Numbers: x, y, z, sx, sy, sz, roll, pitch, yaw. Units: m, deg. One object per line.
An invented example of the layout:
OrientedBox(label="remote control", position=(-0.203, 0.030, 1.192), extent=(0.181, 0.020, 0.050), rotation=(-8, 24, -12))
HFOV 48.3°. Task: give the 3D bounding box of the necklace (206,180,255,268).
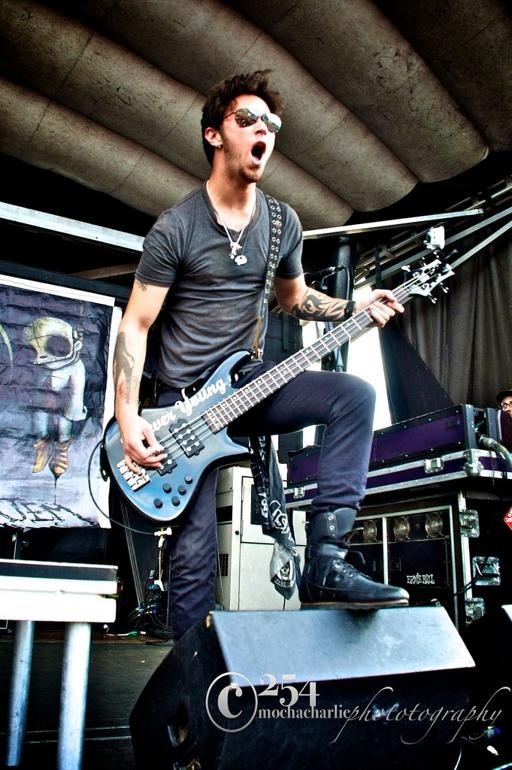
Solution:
OrientedBox(label="necklace", position=(-0.061, -0.441, 1.624), extent=(0.147, 0.231, 0.238), rotation=(-1, 5, -9))

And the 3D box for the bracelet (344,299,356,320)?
OrientedBox(label="bracelet", position=(0.290, -0.235, 1.783), extent=(0.040, 0.048, 0.034), rotation=(6, -3, -38))

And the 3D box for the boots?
OrientedBox(label="boots", position=(0.209, 0.382, 1.240), extent=(0.112, 0.212, 0.300), rotation=(20, -27, -30))

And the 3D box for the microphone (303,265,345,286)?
OrientedBox(label="microphone", position=(0.502, -0.801, 4.248), extent=(0.064, 0.164, 0.264), rotation=(-5, -3, -37))

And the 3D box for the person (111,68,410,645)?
OrientedBox(label="person", position=(0.039, -0.079, 1.637), extent=(0.786, 1.523, 0.680), rotation=(-2, 4, 14))
